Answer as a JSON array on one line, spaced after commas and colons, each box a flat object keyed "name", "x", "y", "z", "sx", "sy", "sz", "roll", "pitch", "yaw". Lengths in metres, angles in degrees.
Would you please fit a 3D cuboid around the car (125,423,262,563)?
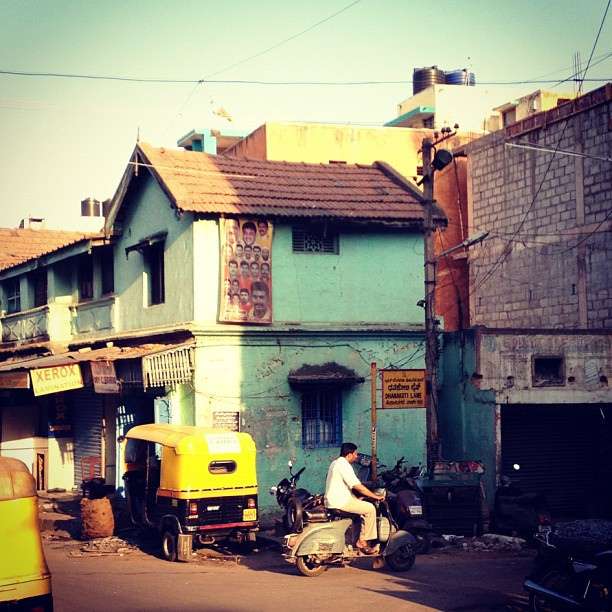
[{"name": "car", "x": -2.200, "y": 3.286, "z": 25.787, "sx": 1.834, "sy": 2.266, "sz": 3.005, "roll": -2, "pitch": 4, "yaw": -36}]

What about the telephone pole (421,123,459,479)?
[{"name": "telephone pole", "x": 2.579, "y": 0.030, "z": 27.380, "sx": 0.595, "sy": 7.581, "sz": 0.870, "roll": -1, "pitch": 2, "yaw": -10}]

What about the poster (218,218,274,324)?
[{"name": "poster", "x": -1.239, "y": -0.812, "z": 29.310, "sx": 1.208, "sy": 2.478, "sz": 0.096, "roll": 1, "pitch": -22, "yaw": -4}]

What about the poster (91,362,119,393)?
[{"name": "poster", "x": -4.207, "y": 1.452, "z": 29.483, "sx": 0.082, "sy": 0.814, "sz": 0.507, "roll": -18, "pitch": 17, "yaw": -38}]

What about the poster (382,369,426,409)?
[{"name": "poster", "x": 1.800, "y": 1.540, "z": 26.432, "sx": 0.601, "sy": 0.528, "sz": 0.086, "roll": 2, "pitch": -14, "yaw": -14}]

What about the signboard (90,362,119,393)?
[{"name": "signboard", "x": -4.239, "y": 1.469, "z": 29.549, "sx": 0.118, "sy": 0.704, "sz": 1.145, "roll": -9, "pitch": 8, "yaw": -35}]

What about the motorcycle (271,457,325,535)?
[{"name": "motorcycle", "x": 0.051, "y": 3.317, "z": 25.020, "sx": 1.297, "sy": 1.089, "sz": 0.886, "roll": 2, "pitch": -16, "yaw": -8}]

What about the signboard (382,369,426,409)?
[{"name": "signboard", "x": 1.812, "y": 1.533, "z": 26.450, "sx": 0.847, "sy": 0.752, "sz": 0.094, "roll": 0, "pitch": 1, "yaw": -5}]

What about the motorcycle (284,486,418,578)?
[{"name": "motorcycle", "x": 0.793, "y": 3.725, "z": 23.523, "sx": 2.174, "sy": 1.572, "sz": 0.951, "roll": 0, "pitch": -4, "yaw": -10}]

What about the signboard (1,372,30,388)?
[{"name": "signboard", "x": -6.283, "y": 1.581, "z": 30.384, "sx": 0.481, "sy": 0.504, "sz": 0.119, "roll": 0, "pitch": 0, "yaw": 35}]
